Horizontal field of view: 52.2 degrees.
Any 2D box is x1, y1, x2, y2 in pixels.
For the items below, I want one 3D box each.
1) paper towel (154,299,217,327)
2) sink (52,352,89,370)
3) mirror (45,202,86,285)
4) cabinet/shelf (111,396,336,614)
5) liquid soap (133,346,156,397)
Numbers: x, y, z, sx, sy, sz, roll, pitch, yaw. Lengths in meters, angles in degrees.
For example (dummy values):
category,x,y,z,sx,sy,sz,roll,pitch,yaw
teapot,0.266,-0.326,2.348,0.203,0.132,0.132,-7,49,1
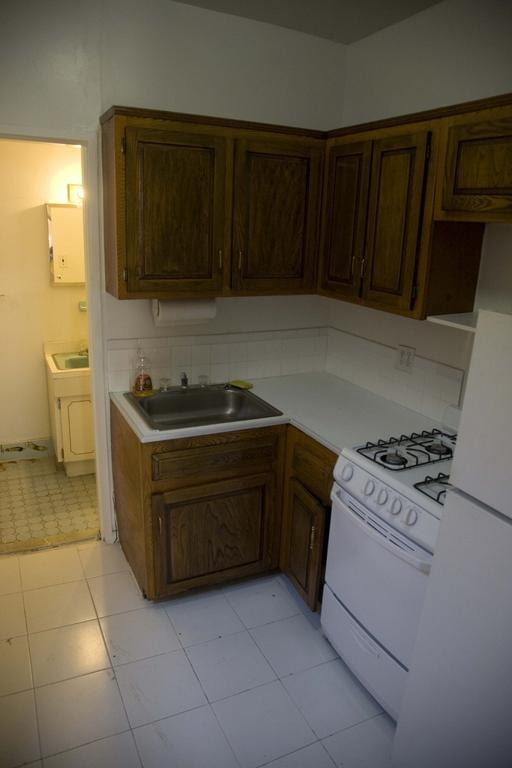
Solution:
category,x,y,z,sx,sy,sz,roll,pitch,yaw
paper towel,-0.317,-0.319,2.313,0.179,0.132,0.142,-5,39,-19
sink,-1.253,-0.152,3.527,0.224,0.088,0.343,-2,13,-23
mirror,-1.263,-0.923,3.466,0.218,0.509,0.156,-3,12,-26
cabinet/shelf,-0.202,0.500,2.387,0.647,0.856,0.966,-6,18,-22
liquid soap,-0.525,-0.059,2.449,0.094,0.201,0.171,0,12,-12
